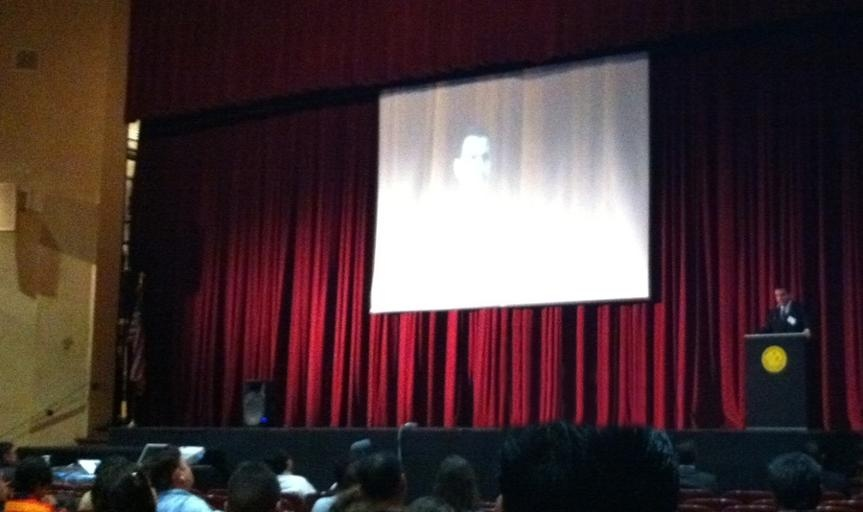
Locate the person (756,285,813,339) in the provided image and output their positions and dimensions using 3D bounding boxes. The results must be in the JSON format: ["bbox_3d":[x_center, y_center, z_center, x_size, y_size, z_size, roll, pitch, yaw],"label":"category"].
[{"bbox_3d":[4.110,0.649,10.519,0.268,0.706,0.439,22,-27,-38],"label":"person"}]

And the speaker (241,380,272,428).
[{"bbox_3d":[-2.353,1.963,12.183,0.349,0.606,0.147,-2,-10,-9],"label":"speaker"}]

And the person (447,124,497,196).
[{"bbox_3d":[0.574,-1.301,12.112,0.560,0.899,0.224,6,3,28],"label":"person"}]
